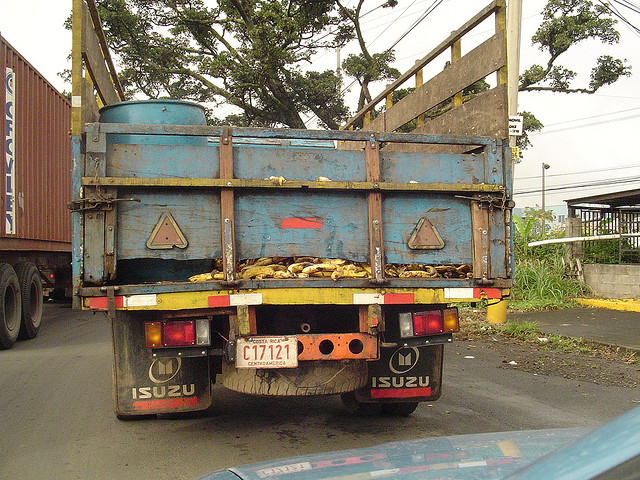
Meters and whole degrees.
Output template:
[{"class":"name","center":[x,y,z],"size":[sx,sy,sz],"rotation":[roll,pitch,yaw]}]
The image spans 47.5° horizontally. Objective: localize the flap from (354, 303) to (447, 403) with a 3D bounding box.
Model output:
[{"class":"flap","center":[0.908,1.211,7.894],"size":[0.936,1.117,1.242],"rotation":[3,-1,-3]}]

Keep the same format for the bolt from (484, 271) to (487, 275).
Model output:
[{"class":"bolt","center":[1.686,0.339,7.421],"size":[0.029,0.029,0.007],"rotation":[2,-3,-1]}]

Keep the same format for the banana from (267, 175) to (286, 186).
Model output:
[{"class":"banana","center":[-0.406,-0.580,7.224],"size":[0.119,0.121,0.043],"rotation":[-8,-9,0]}]

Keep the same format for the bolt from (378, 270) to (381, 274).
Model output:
[{"class":"bolt","center":[0.588,0.322,7.206],"size":[0.028,0.028,0.007],"rotation":[0,-8,-4]}]

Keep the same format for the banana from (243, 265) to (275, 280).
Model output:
[{"class":"banana","center":[-0.597,0.323,7.222],"size":[0.233,0.073,0.137],"rotation":[-3,37,2]}]

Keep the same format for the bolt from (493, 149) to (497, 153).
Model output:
[{"class":"bolt","center":[1.822,-0.926,7.577],"size":[0.041,0.033,0.007],"rotation":[-2,7,-12]}]

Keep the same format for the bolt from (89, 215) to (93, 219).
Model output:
[{"class":"bolt","center":[-2.197,-0.219,7.027],"size":[0.026,0.027,0.025],"rotation":[-3,7,-1]}]

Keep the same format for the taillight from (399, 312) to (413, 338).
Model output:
[{"class":"taillight","center":[0.860,0.857,7.248],"size":[0.125,0.238,0.061],"rotation":[-2,7,-13]}]

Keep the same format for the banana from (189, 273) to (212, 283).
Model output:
[{"class":"banana","center":[-1.159,0.368,7.193],"size":[0.202,0.074,0.174],"rotation":[-1,6,-10]}]

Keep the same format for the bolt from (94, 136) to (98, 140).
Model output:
[{"class":"bolt","center":[-2.152,-0.988,7.040],"size":[0.029,0.030,0.006],"rotation":[-2,7,-19]}]

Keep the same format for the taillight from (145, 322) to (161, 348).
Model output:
[{"class":"taillight","center":[-1.609,0.921,6.978],"size":[0.205,0.210,0.048],"rotation":[0,-1,5]}]

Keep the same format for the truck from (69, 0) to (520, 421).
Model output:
[{"class":"truck","center":[-0.675,-0.217,9.922],"size":[3.465,3.096,5.956],"rotation":[0,0,-11]}]

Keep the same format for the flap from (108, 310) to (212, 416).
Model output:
[{"class":"flap","center":[-1.617,1.223,7.570],"size":[0.997,1.103,0.101],"rotation":[-2,1,-13]}]

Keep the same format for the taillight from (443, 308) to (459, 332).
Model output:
[{"class":"taillight","center":[1.323,0.818,7.325],"size":[0.173,0.231,0.046],"rotation":[-2,7,-18]}]

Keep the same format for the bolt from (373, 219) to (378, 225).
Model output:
[{"class":"bolt","center":[0.560,-0.177,7.293],"size":[0.044,0.045,0.010],"rotation":[2,-7,2]}]

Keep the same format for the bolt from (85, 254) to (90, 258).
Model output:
[{"class":"bolt","center":[-2.226,0.155,7.009],"size":[0.039,0.039,0.009],"rotation":[1,-2,-15]}]

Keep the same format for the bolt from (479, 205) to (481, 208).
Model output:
[{"class":"bolt","center":[1.640,-0.345,7.470],"size":[0.028,0.032,0.028],"rotation":[-2,-5,30]}]

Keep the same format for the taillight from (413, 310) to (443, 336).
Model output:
[{"class":"taillight","center":[1.059,0.824,7.378],"size":[0.370,0.324,0.212],"rotation":[-1,-7,-8]}]

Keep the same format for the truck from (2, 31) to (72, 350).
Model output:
[{"class":"truck","center":[-5.269,-0.833,13.537],"size":[0.595,5.337,4.462],"rotation":[-1,6,-8]}]

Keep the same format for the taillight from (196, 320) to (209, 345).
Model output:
[{"class":"taillight","center":[-1.122,0.897,7.031],"size":[0.121,0.230,0.069],"rotation":[-1,6,-9]}]

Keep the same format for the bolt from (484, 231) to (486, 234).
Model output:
[{"class":"bolt","center":[1.687,-0.076,7.459],"size":[0.017,0.017,0.031],"rotation":[0,-12,-4]}]
